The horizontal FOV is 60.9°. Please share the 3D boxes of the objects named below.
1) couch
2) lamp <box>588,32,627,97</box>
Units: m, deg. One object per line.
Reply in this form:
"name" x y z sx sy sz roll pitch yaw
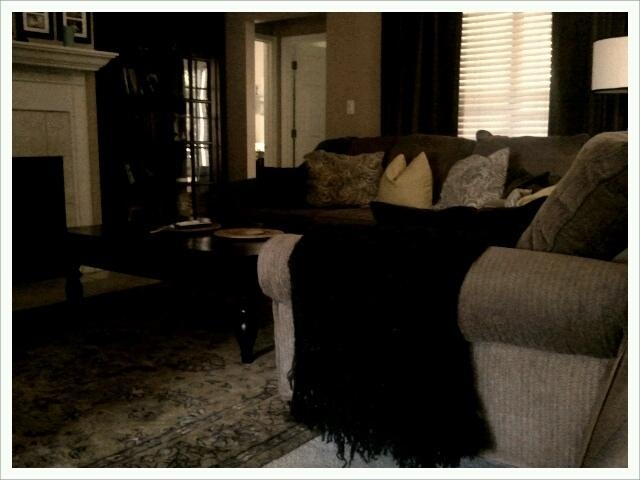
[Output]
"couch" 0.379 0.253 1.913 1.285 1.195 0.591 5 15 27
"lamp" 1.836 -1.099 3.414 0.161 0.308 0.320 -8 14 -22
